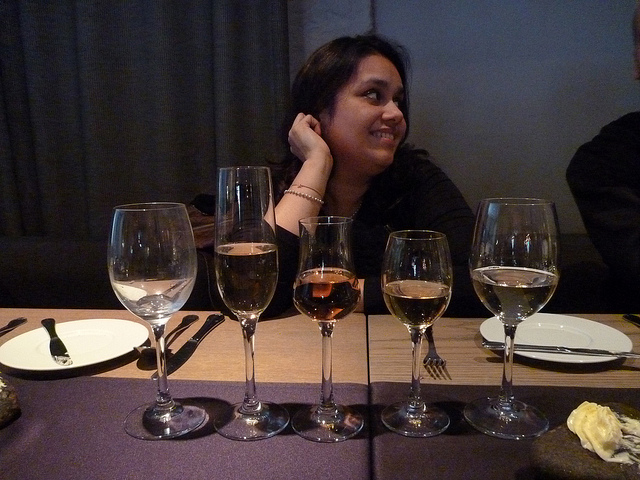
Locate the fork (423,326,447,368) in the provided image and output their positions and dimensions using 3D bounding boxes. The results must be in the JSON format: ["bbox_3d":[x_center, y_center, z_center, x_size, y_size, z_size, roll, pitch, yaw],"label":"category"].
[{"bbox_3d":[0.223,0.218,1.035,0.043,0.024,0.171,-1,9,9],"label":"fork"}]

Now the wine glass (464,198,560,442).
[{"bbox_3d":[0.321,0.115,0.857,0.137,0.363,0.238,4,9,22],"label":"wine glass"}]

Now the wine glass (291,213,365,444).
[{"bbox_3d":[0.011,0.136,0.805,0.108,0.335,0.129,0,8,-3],"label":"wine glass"}]

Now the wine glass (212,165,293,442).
[{"bbox_3d":[-0.126,0.091,0.837,0.126,0.419,0.202,-3,9,-23],"label":"wine glass"}]

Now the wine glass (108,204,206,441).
[{"bbox_3d":[-0.256,0.127,0.801,0.135,0.355,0.108,-3,9,-23],"label":"wine glass"}]

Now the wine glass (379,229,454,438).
[{"bbox_3d":[0.157,0.142,0.847,0.116,0.307,0.187,1,8,1],"label":"wine glass"}]
